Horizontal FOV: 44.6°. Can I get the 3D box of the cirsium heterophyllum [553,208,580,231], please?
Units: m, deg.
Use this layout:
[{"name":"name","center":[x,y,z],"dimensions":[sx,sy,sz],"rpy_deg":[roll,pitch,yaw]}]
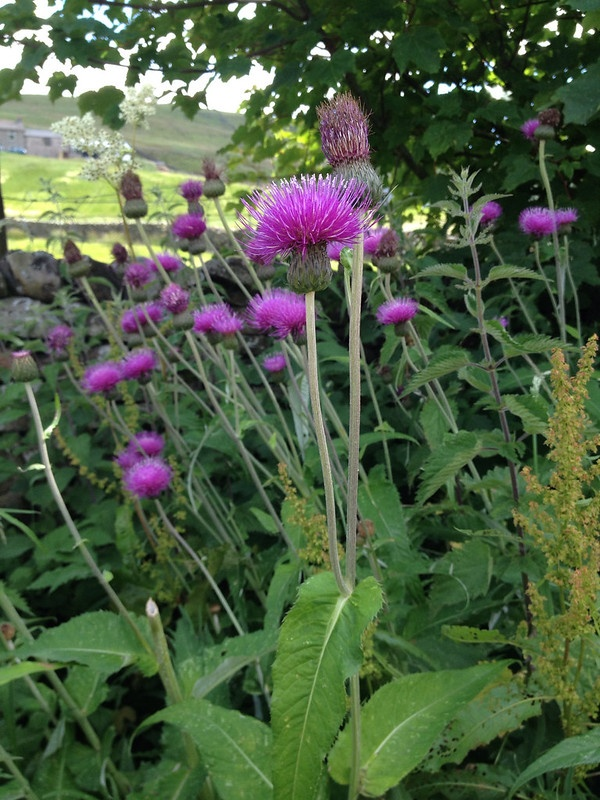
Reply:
[{"name":"cirsium heterophyllum","center":[1.224,-0.838,3.390],"dimensions":[0.095,0.115,0.273],"rpy_deg":[-2,9,18]}]
